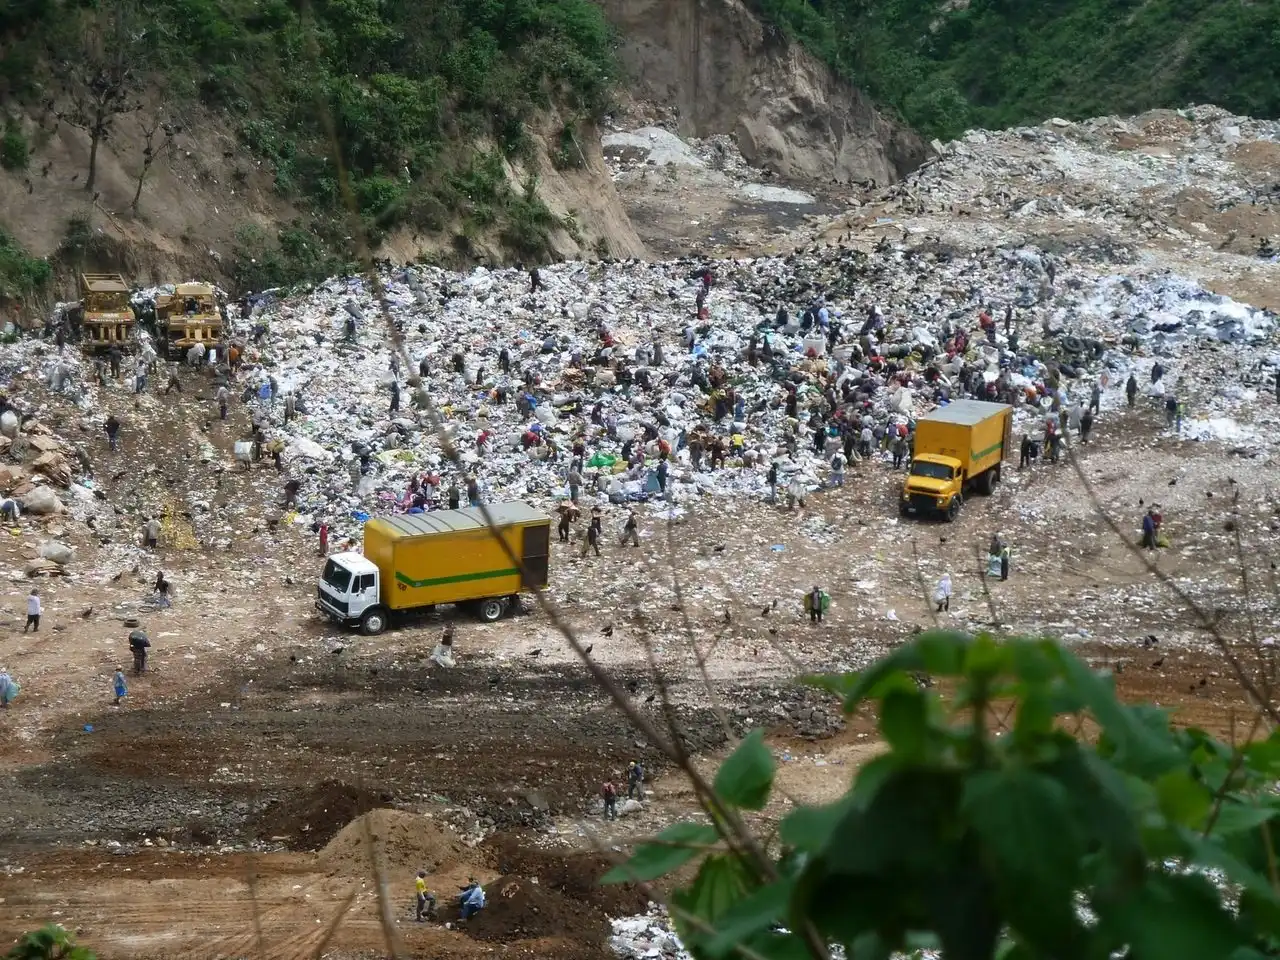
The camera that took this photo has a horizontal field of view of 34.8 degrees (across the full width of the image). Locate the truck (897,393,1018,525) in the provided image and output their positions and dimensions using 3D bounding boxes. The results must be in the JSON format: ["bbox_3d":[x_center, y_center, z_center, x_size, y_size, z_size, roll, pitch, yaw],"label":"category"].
[{"bbox_3d":[9.875,-0.854,63.442,2.283,2.309,4.771,9,21,33],"label":"truck"}]

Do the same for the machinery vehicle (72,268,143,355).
[{"bbox_3d":[-17.025,-5.182,65.265,1.748,1.747,2.894,-4,39,-15],"label":"machinery vehicle"}]

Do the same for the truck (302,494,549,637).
[{"bbox_3d":[-6.088,2.410,57.310,7.301,3.227,3.304,-4,16,-20],"label":"truck"}]
